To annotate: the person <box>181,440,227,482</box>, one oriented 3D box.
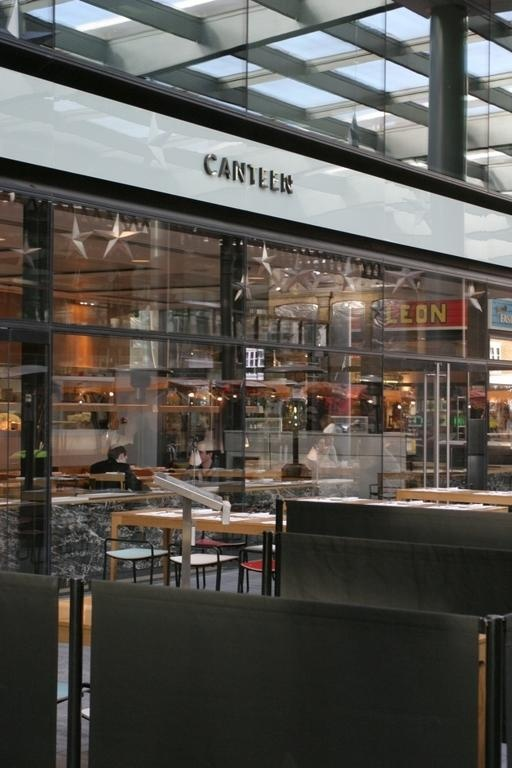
[{"bbox_3d":[-0.650,1.028,9.833,0.554,0.524,0.997,2,-3,-2],"label":"person"}]
